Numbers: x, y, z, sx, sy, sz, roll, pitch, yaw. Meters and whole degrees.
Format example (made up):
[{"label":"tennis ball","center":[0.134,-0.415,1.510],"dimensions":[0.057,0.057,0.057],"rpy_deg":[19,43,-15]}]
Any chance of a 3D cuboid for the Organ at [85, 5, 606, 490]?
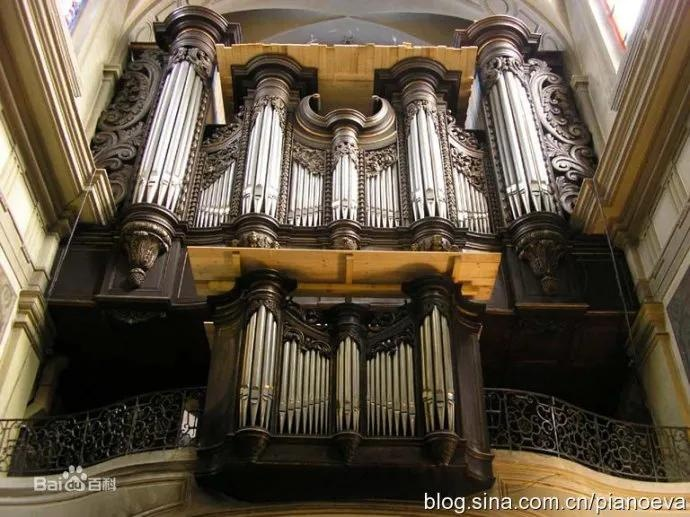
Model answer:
[{"label":"Organ","center":[-0.037,-1.400,9.429],"dimensions":[8.497,10.001,2.813],"rpy_deg":[0,-27,1]}]
